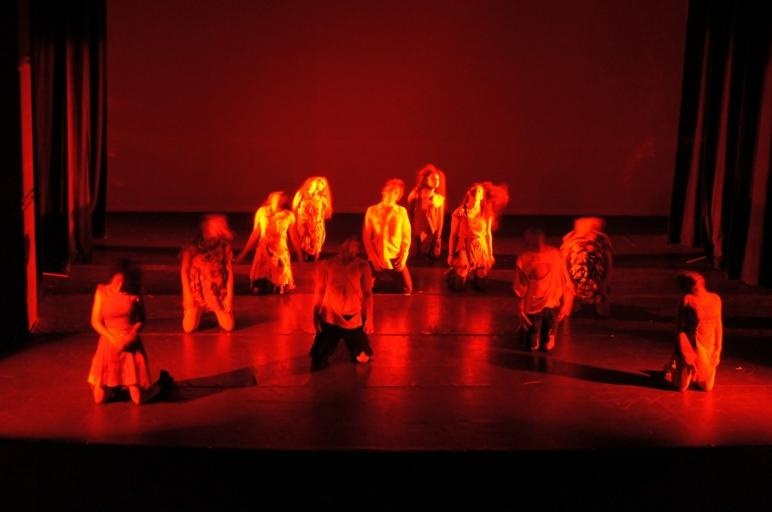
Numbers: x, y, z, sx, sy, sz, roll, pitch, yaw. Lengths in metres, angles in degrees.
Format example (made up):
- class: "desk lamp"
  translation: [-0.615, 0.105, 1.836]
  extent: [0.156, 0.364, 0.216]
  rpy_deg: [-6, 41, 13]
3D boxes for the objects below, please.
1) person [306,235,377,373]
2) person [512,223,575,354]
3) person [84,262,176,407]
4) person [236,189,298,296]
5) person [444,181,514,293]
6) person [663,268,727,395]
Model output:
- class: "person"
  translation: [-0.440, 0.482, 6.601]
  extent: [0.658, 1.341, 0.332]
  rpy_deg: [1, 8, -6]
- class: "person"
  translation: [1.737, 0.379, 7.038]
  extent: [0.613, 1.330, 0.273]
  rpy_deg: [4, 8, 10]
- class: "person"
  translation: [-2.332, 0.687, 5.789]
  extent: [0.680, 1.310, 0.301]
  rpy_deg: [-1, 8, -23]
- class: "person"
  translation: [-1.711, -0.263, 9.418]
  extent: [0.739, 1.385, 2.036]
  rpy_deg: [1, 8, -9]
- class: "person"
  translation: [1.308, -0.296, 9.246]
  extent: [0.740, 1.523, 1.019]
  rpy_deg: [4, 8, 10]
- class: "person"
  translation: [2.954, 0.732, 6.057]
  extent: [0.408, 1.143, 0.211]
  rpy_deg: [1, 8, -8]
